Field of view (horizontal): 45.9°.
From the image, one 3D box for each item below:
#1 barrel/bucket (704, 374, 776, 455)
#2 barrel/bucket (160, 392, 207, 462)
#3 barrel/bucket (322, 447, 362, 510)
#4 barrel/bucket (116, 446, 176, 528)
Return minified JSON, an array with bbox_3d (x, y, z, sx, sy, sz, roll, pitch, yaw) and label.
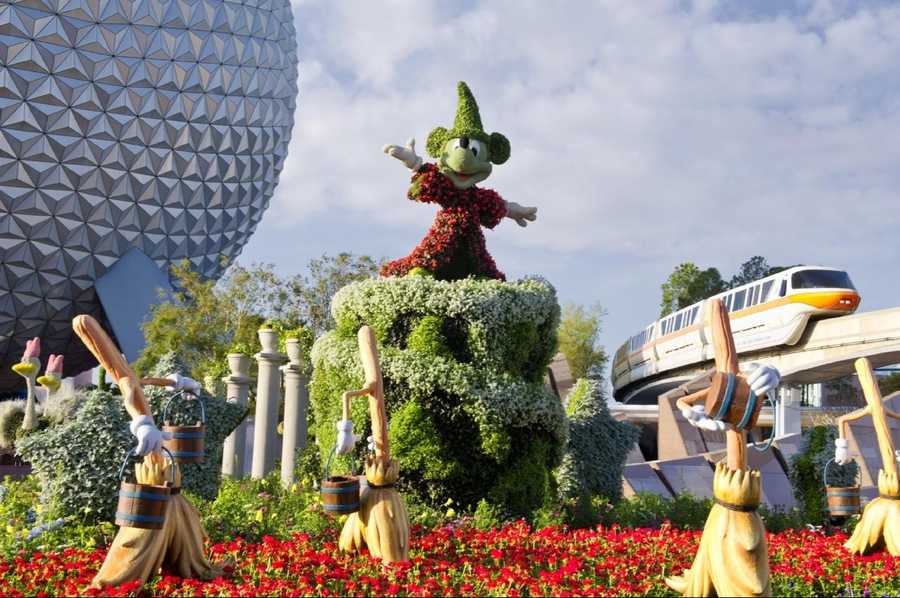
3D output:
[{"bbox_3d":[5.605,2.047,20.128,1.334,1.214,0.981,-16,5,-30],"label":"barrel/bucket"},{"bbox_3d":[-5.035,2.524,20.446,0.872,1.518,0.963,-15,-16,29],"label":"barrel/bucket"},{"bbox_3d":[-2.048,3.463,20.377,0.770,1.241,0.390,5,-14,-13],"label":"barrel/bucket"},{"bbox_3d":[-5.716,3.622,19.735,0.858,1.572,0.998,0,-12,41],"label":"barrel/bucket"}]
